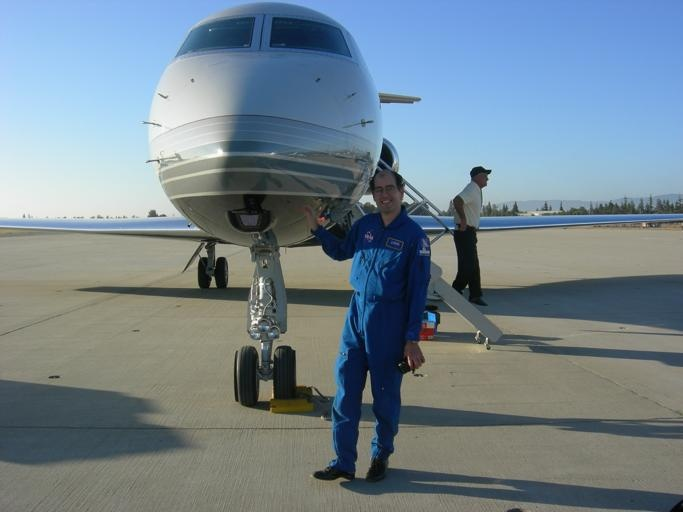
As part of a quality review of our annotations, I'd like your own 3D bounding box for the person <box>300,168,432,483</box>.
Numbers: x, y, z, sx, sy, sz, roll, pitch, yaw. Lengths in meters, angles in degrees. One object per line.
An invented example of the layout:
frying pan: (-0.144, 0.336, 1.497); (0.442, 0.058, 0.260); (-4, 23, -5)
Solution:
person: (0.287, 0.470, 3.960); (0.664, 2.163, 0.718); (2, 8, 9)
